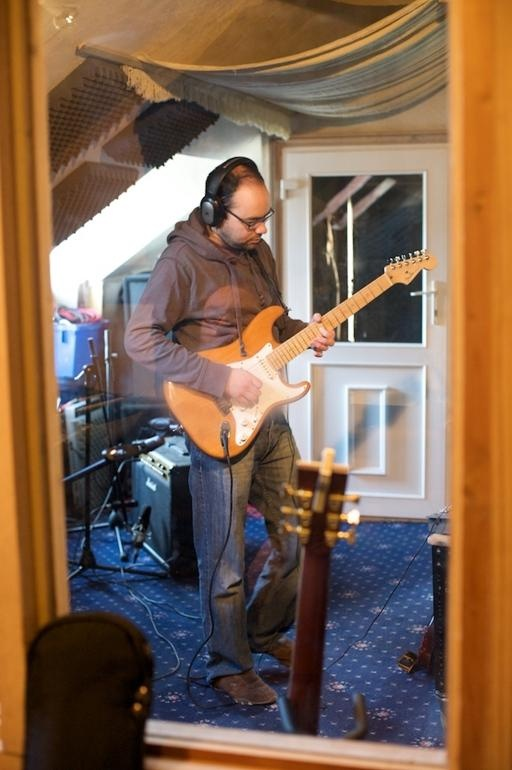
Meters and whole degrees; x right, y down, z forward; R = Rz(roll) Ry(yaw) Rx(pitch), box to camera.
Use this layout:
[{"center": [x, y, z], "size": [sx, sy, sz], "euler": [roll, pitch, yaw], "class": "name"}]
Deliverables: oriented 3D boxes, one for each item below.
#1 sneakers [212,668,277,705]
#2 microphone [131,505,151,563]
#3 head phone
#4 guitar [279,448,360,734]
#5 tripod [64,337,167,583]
[{"center": [-0.015, 0.747, 1.830], "size": [0.129, 0.050, 0.065], "euler": [-3, -6, 42], "class": "sneakers"}, {"center": [-0.384, 0.513, 2.585], "size": [0.069, 0.213, 0.049], "euler": [11, 24, -2], "class": "microphone"}, {"center": [-0.062, -0.487, 1.823], "size": [0.157, 0.175, 0.092], "euler": [-3, 9, -4], "class": "head phone"}, {"center": [0.103, 0.340, 1.188], "size": [0.129, 0.480, 0.129], "euler": [-1, 9, 6], "class": "guitar"}, {"center": [-0.615, 0.339, 2.926], "size": [0.572, 0.821, 0.572], "euler": [8, -21, -31], "class": "tripod"}]
